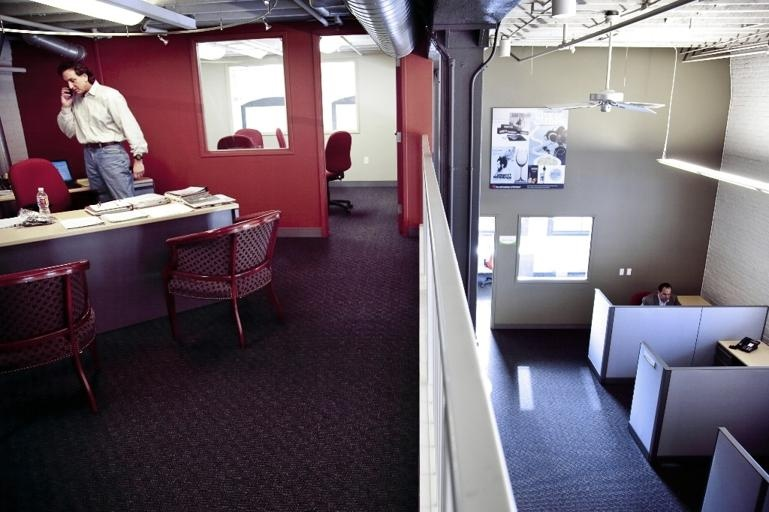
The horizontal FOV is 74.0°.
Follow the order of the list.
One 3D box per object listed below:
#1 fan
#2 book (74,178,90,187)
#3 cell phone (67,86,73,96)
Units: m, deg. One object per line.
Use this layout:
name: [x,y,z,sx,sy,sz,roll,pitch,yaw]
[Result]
fan: [2.872,-2.409,6.629,1.079,1.089,1.156,6,4,35]
book: [-4.381,-1.065,7.418,0.231,0.103,0.308,-8,19,-35]
cell phone: [-3.718,-1.959,6.080,0.031,0.094,0.183,-15,23,-38]
